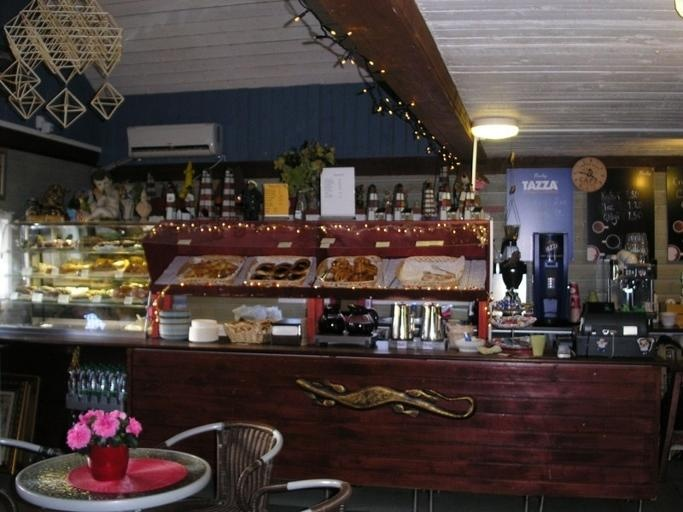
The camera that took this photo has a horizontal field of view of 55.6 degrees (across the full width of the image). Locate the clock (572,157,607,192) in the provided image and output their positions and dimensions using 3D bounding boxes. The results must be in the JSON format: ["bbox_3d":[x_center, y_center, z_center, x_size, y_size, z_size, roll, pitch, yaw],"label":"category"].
[{"bbox_3d":[3.049,-1.008,7.951,0.418,0.440,0.046,0,4,7],"label":"clock"}]

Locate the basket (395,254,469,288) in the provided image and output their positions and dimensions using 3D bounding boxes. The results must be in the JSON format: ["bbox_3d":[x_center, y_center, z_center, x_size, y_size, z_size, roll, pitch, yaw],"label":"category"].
[{"bbox_3d":[0.759,0.144,5.595,0.413,0.117,0.327,3,25,12],"label":"basket"}]

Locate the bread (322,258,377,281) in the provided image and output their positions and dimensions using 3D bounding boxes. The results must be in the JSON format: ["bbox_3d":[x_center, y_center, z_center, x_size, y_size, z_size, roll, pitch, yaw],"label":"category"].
[{"bbox_3d":[0.092,0.118,5.716,0.333,0.246,0.060,0,-36,11],"label":"bread"}]

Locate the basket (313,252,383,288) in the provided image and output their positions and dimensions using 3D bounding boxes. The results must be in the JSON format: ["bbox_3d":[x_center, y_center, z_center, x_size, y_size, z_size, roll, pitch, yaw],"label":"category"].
[{"bbox_3d":[0.072,0.132,5.718,0.575,0.211,0.317,1,15,6],"label":"basket"}]

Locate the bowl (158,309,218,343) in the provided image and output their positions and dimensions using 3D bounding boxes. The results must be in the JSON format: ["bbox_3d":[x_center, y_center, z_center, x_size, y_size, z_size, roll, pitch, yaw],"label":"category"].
[{"bbox_3d":[-1.377,0.608,5.843,0.398,0.176,0.302,0,-2,14],"label":"bowl"}]

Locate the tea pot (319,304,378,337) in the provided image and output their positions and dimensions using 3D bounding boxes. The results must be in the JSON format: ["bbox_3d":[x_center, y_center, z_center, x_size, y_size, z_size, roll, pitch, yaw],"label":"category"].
[{"bbox_3d":[0.055,0.533,5.621,0.490,0.239,0.278,0,15,2],"label":"tea pot"}]

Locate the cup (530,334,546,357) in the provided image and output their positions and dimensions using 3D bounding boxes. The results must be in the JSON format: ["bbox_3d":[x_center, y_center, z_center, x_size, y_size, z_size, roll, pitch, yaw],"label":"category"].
[{"bbox_3d":[1.575,0.726,5.288,0.156,0.171,0.150,1,-1,0],"label":"cup"}]

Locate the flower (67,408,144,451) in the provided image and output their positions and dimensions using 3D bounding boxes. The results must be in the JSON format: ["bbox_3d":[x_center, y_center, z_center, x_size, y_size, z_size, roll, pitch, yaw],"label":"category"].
[{"bbox_3d":[-1.382,1.018,3.911,0.295,0.148,0.318,1,1,1],"label":"flower"}]

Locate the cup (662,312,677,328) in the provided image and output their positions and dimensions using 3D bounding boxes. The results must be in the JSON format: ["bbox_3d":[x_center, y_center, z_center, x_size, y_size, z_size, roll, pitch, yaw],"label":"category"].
[{"bbox_3d":[3.705,0.727,7.370,0.165,0.160,0.147,3,-2,-9],"label":"cup"}]

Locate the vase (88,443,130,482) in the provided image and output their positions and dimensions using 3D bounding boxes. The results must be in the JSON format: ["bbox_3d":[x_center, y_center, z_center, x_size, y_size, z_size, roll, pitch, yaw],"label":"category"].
[{"bbox_3d":[-1.344,1.195,3.777,0.216,0.171,0.216,1,-7,-7],"label":"vase"}]

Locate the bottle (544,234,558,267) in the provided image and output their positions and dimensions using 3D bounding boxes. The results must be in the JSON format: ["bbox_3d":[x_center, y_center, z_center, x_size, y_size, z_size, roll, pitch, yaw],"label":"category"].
[{"bbox_3d":[2.440,-0.070,7.531,0.153,0.355,0.085,3,15,13],"label":"bottle"}]
